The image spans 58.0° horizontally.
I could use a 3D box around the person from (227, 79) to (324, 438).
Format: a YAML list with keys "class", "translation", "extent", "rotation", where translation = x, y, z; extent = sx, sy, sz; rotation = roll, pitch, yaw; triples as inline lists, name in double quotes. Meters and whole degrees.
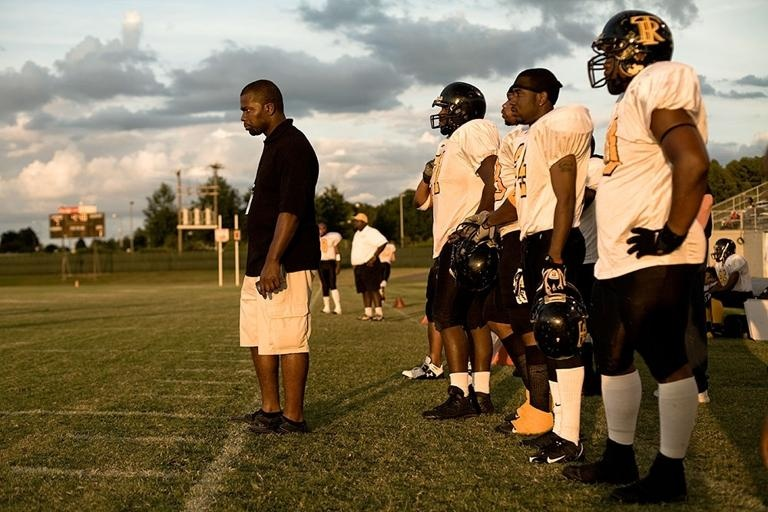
- class: "person"
  translation: [-0.875, -0.027, 5.670]
  extent: [0.704, 2.852, 0.498]
  rotation: [-2, 2, 0]

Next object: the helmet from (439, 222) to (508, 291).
- class: "helmet"
  translation: [0.744, -0.020, 5.847]
  extent: [0.418, 0.569, 0.464]
  rotation: [0, 45, -8]

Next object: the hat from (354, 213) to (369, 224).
- class: "hat"
  translation: [-0.475, -0.797, 14.240]
  extent: [0.292, 0.162, 0.218]
  rotation: [11, 0, -1]

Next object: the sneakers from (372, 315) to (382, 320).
- class: "sneakers"
  translation: [-0.139, 1.137, 13.157]
  extent: [0.198, 0.094, 0.344]
  rotation: [-2, 2, 0]

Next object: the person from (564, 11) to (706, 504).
- class: "person"
  translation: [1.694, 0.165, 4.516]
  extent: [0.775, 2.807, 0.398]
  rotation: [-1, 2, 25]

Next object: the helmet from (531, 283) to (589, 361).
- class: "helmet"
  translation: [1.215, 0.449, 4.923]
  extent: [0.378, 0.491, 0.419]
  rotation: [0, 7, 9]

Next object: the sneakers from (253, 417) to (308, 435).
- class: "sneakers"
  translation: [-0.844, 1.361, 5.653]
  extent: [0.453, 0.176, 0.165]
  rotation: [5, -13, -1]

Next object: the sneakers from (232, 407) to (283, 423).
- class: "sneakers"
  translation: [-1.086, 1.315, 5.759]
  extent: [0.451, 0.149, 0.167]
  rotation: [2, -4, 14]

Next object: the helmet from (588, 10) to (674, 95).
- class: "helmet"
  translation: [1.725, -1.424, 4.845]
  extent: [0.608, 0.575, 0.484]
  rotation: [0, 12, 16]

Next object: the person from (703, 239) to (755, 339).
- class: "person"
  translation: [5.470, 0.385, 11.006]
  extent: [0.661, 1.284, 2.423]
  rotation: [-1, 2, 26]
